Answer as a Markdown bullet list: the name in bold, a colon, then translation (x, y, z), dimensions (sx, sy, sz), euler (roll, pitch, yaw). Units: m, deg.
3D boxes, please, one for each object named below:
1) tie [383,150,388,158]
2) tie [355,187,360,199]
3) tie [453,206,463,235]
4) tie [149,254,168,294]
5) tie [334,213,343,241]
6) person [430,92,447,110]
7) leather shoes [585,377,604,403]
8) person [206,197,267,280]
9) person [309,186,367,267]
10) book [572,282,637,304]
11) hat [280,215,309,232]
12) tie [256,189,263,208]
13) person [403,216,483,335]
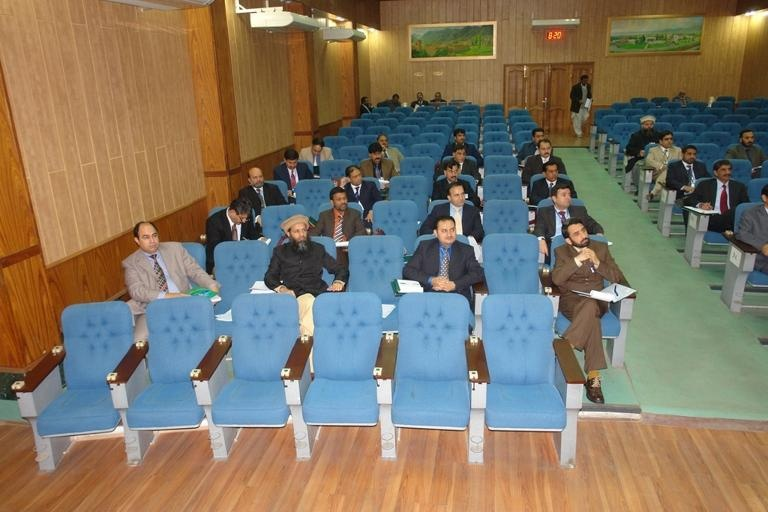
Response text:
- **tie**: translation (0.053, -2.186, 11.030), dimensions (0.148, 0.144, 0.058), euler (-2, -10, -40)
- **tie**: translation (-0.456, -1.056, 8.732), dimensions (0.074, 0.201, 0.010), euler (1, -4, -1)
- **tie**: translation (1.057, -0.508, 7.380), dimensions (0.213, 0.378, 0.128), euler (-1, -3, -1)
- **tie**: translation (-2.675, 0.219, 6.193), dimensions (0.139, 0.618, 0.092), euler (-17, -1, -12)
- **tie**: translation (-0.667, -0.418, 7.525), dimensions (0.083, 0.291, 0.222), euler (1, -19, 13)
- **person**: translation (2.026, -5.666, 19.194), dimensions (0.663, 0.873, 1.108), euler (-1, 25, 7)
- **leather shoes**: translation (2.260, 1.428, 5.486), dimensions (0.119, 0.139, 0.332), euler (-2, 13, 1)
- **person**: translation (-1.979, -0.196, 6.904), dimensions (0.722, 1.132, 0.848), euler (16, 25, 30)
- **person**: translation (-0.655, -0.212, 7.503), dimensions (0.805, 1.409, 0.818), euler (-3, 12, 9)
- **book**: translation (2.484, 0.405, 5.629), dimensions (0.402, 0.129, 0.297), euler (7, 5, -24)
- **hat**: translation (-1.132, -0.417, 6.381), dimensions (0.252, 0.103, 0.266), euler (-7, 0, -25)
- **tie**: translation (-1.994, -0.932, 8.295), dimensions (0.052, 0.226, 0.132), euler (-12, -6, 37)
- **person**: translation (0.720, 0.267, 6.309), dimensions (0.986, 1.358, 0.733), euler (-2, 19, 2)
